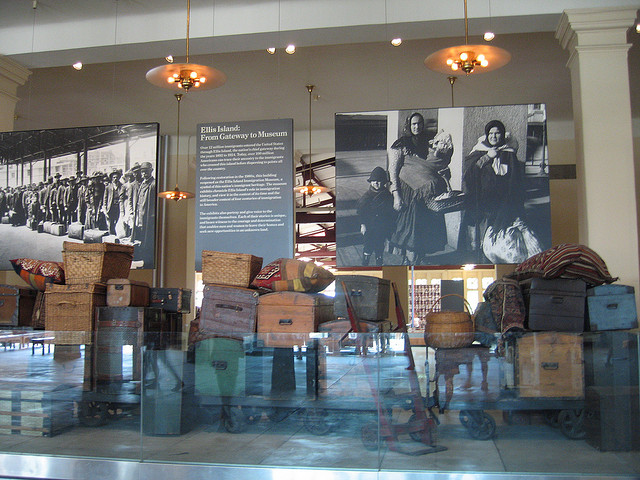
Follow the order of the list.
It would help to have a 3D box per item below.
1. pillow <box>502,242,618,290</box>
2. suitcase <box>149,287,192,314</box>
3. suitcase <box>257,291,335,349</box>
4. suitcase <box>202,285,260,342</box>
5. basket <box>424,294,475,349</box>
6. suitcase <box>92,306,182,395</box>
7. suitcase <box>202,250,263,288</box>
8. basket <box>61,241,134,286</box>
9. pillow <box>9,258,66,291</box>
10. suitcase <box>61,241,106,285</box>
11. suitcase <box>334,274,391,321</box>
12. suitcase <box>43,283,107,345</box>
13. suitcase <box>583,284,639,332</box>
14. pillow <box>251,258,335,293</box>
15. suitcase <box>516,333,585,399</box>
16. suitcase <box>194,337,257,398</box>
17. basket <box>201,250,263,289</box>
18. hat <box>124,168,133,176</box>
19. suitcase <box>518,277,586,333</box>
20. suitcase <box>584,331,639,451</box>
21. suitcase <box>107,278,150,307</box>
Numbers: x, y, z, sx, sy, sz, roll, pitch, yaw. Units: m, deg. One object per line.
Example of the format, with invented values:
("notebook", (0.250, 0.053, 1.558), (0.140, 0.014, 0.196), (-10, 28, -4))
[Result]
("pillow", (2.384, 0.218, 5.867), (0.732, 0.295, 0.935), (8, 1, 5))
("suitcase", (-1.770, 0.713, 7.234), (0.403, 0.202, 0.366), (0, -3, 5))
("suitcase", (-0.331, 0.699, 5.527), (0.456, 0.346, 0.578), (-1, -4, 11))
("suitcase", (-0.819, 0.725, 6.005), (0.690, 0.491, 0.389), (5, -5, 23))
("basket", (1.092, 0.680, 5.130), (0.416, 0.482, 0.380), (-6, -17, 32))
("suitcase", (-1.585, 0.938, 5.260), (0.587, 0.608, 0.699), (-3, -10, 10))
("suitcase", (-0.916, 0.284, 6.118), (0.457, 0.234, 0.421), (1, -2, 14))
("basket", (-2.477, 0.272, 6.758), (0.546, 0.396, 0.683), (0, -6, 6))
("pillow", (-3.112, 0.347, 6.899), (0.721, 0.255, 0.703), (7, 11, -21))
("suitcase", (-2.607, 0.269, 6.580), (0.526, 0.482, 0.450), (-1, -6, -17))
("suitcase", (0.495, 0.534, 6.239), (0.710, 0.333, 0.670), (-1, 0, -26))
("suitcase", (-2.572, 0.787, 6.574), (0.729, 0.638, 0.675), (-4, -5, 36))
("suitcase", (2.564, 0.598, 5.406), (0.484, 0.388, 0.452), (-2, -5, 14))
("pillow", (-0.313, 0.369, 6.111), (0.651, 0.248, 0.563), (1, -3, 9))
("suitcase", (1.928, 0.996, 4.714), (0.439, 0.492, 0.558), (15, -19, -29))
("suitcase", (-0.715, 1.046, 5.062), (0.749, 0.450, 0.695), (3, -12, -18))
("basket", (-0.895, 0.286, 6.125), (0.476, 0.253, 0.441), (1, -2, 17))
("hat", (-2.999, -1.037, 9.445), (0.159, 0.124, 0.103), (0, -5, 7))
("suitcase", (2.066, 0.567, 5.506), (0.814, 0.450, 0.445), (1, -8, 3))
("suitcase", (2.171, 1.125, 4.497), (0.396, 0.873, 0.154), (-3, -7, 19))
("suitcase", (-2.088, 0.614, 6.586), (0.333, 0.265, 0.530), (-2, -5, 13))
